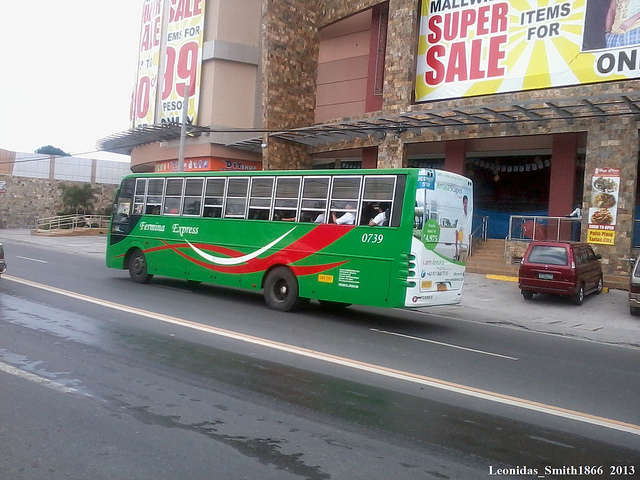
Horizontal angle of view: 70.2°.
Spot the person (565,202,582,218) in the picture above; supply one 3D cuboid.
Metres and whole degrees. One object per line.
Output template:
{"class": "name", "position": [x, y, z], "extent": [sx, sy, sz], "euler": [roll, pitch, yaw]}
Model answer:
{"class": "person", "position": [12.099, -1.393, 21.861], "extent": [0.973, 0.672, 0.508], "euler": [-3, 10, -15]}

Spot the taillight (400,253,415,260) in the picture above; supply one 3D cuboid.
{"class": "taillight", "position": [2.091, 0.403, 10.895], "extent": [0.329, 0.131, 0.067], "euler": [4, 2, 4]}

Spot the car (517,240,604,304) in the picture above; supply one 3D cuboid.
{"class": "car", "position": [9.083, 1.178, 16.737], "extent": [3.303, 2.326, 1.559], "euler": [3, 2, -27]}

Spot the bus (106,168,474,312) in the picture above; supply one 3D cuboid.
{"class": "bus", "position": [-1.860, -0.014, 15.507], "extent": [12.375, 4.441, 3.779], "euler": [4, -1, 32]}

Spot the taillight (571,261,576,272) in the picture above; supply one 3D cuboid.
{"class": "taillight", "position": [8.728, 0.930, 15.729], "extent": [0.199, 0.389, 0.096], "euler": [3, 2, -35]}
